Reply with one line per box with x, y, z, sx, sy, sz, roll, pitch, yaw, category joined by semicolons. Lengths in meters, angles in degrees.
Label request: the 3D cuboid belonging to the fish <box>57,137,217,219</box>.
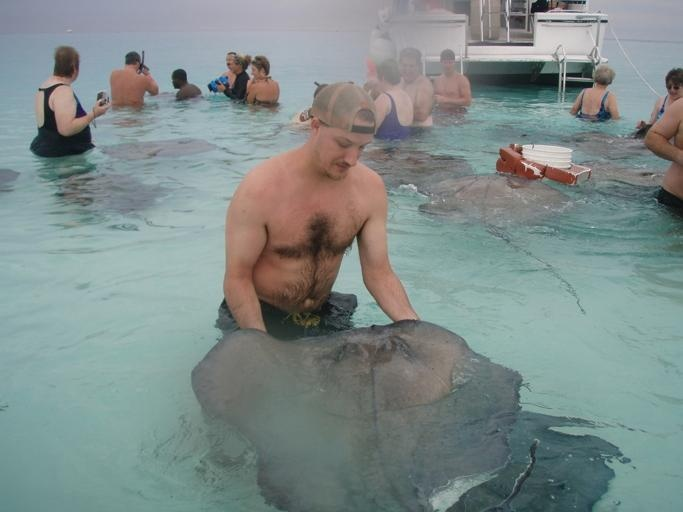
-3.805;-1.433;8.607;2.074;0.202;1.833;-18;39;-35;fish

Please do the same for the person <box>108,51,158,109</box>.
-5.890;-4.994;14.459;0.862;1.463;1.010;7;25;13;person

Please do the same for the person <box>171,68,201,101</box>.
-5.018;-5.615;16.685;0.756;0.837;2.140;-6;24;-16;person

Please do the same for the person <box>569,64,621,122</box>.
6.321;-3.923;12.602;1.308;1.555;0.815;13;53;24;person

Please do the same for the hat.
0.004;-0.926;3.244;0.402;0.220;0.309;33;37;34;hat

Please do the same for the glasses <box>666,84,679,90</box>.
5.748;-2.976;8.984;0.176;0.049;0.176;0;0;-37;glasses

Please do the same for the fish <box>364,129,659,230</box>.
2.863;-1.185;7.744;2.775;0.285;2.285;-10;23;-26;fish
